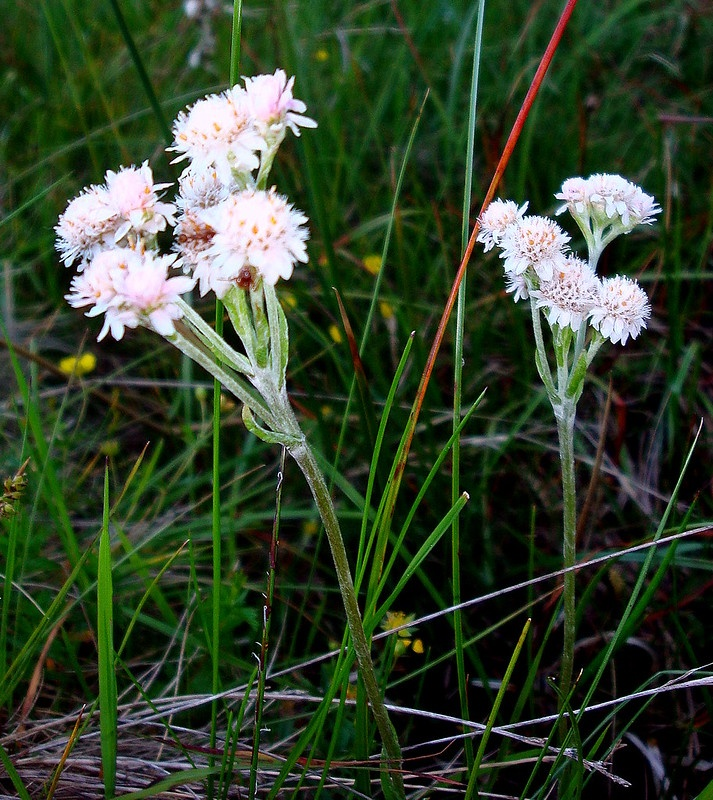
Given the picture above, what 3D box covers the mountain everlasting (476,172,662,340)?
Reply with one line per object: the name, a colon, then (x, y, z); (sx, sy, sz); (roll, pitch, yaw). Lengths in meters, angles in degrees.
mountain everlasting: (0.441, -0.325, 1.905); (0.355, 0.271, 0.391); (5, 48, 24)
